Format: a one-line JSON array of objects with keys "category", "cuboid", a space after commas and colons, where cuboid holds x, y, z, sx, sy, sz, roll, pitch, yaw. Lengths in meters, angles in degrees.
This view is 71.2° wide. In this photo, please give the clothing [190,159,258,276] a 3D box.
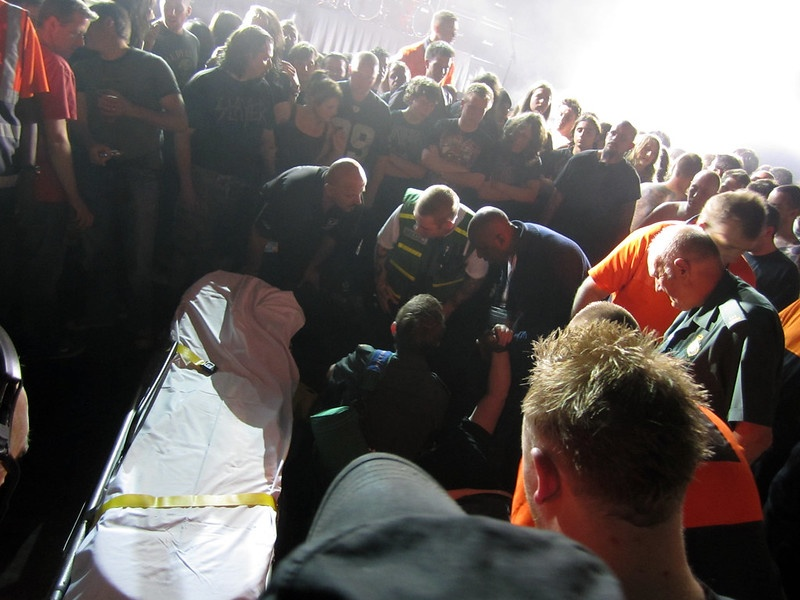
[{"category": "clothing", "cuboid": [-1.439, -0.636, 4.473, 0.665, 0.686, 0.197, 0, 21, -37]}]

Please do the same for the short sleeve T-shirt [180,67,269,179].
[{"category": "short sleeve T-shirt", "cuboid": [-1.338, -1.341, 4.222, 0.687, 0.776, 0.416, 10, 35, -32]}]
